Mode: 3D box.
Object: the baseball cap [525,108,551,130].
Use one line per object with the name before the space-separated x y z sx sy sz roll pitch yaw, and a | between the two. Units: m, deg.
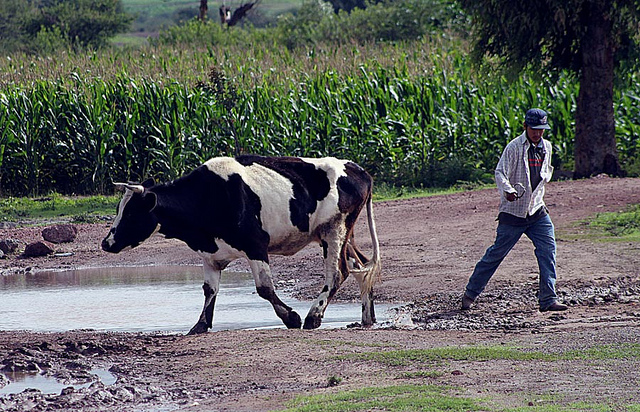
baseball cap | 3.995 -1.666 24.176 0.311 0.232 0.424 -5 23 -15
